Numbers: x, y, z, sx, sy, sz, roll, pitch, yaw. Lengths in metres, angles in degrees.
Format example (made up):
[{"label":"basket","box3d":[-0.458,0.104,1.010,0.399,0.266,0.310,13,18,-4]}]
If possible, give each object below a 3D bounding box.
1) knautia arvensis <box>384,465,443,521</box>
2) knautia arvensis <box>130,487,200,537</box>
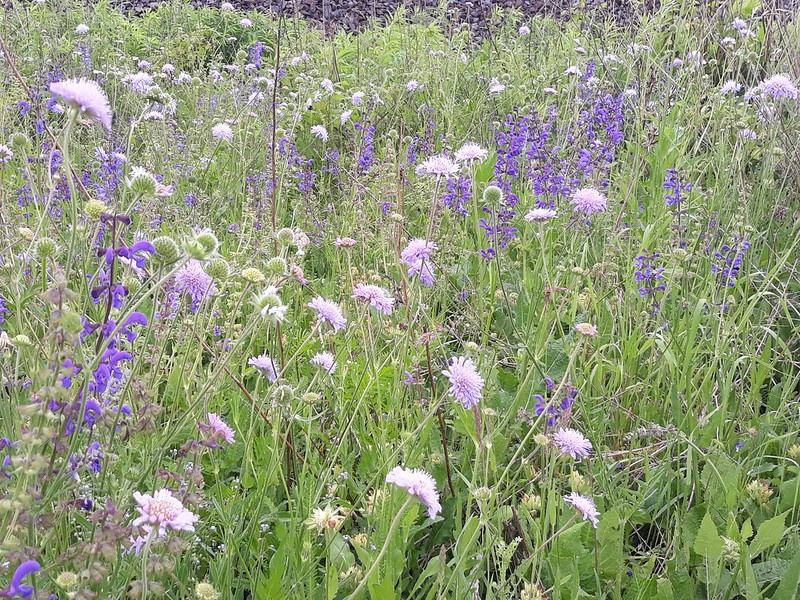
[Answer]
[{"label":"knautia arvensis","box3d":[0.061,0.575,2.248,0.184,0.089,0.178,41,-1,-42]},{"label":"knautia arvensis","box3d":[-0.617,0.550,1.988,0.122,0.066,0.134,10,29,-44]}]
